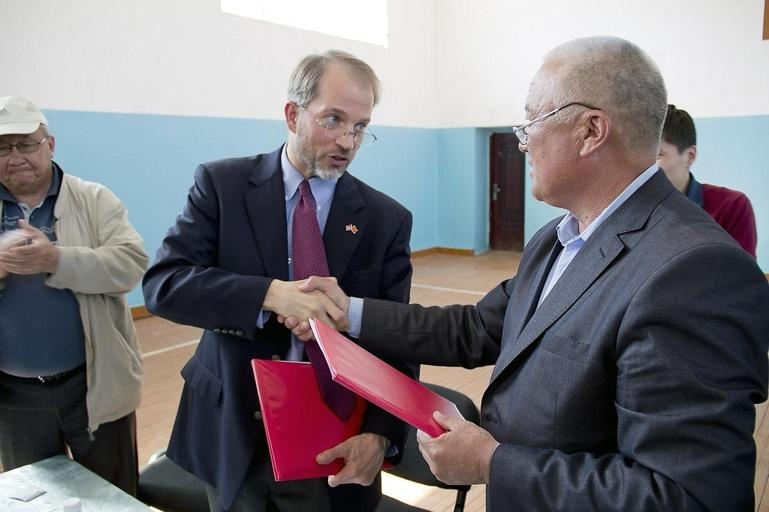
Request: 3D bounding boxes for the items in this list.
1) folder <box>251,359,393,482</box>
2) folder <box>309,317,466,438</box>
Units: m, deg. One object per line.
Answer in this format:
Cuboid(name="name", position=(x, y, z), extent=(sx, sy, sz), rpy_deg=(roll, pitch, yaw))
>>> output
Cuboid(name="folder", position=(-0.280, 0.541, 1.815), extent=(0.401, 0.403, 0.104), rpy_deg=(5, -25, -39))
Cuboid(name="folder", position=(-0.004, 0.409, 1.887), extent=(0.723, 0.054, 0.542), rpy_deg=(32, 4, -19))
